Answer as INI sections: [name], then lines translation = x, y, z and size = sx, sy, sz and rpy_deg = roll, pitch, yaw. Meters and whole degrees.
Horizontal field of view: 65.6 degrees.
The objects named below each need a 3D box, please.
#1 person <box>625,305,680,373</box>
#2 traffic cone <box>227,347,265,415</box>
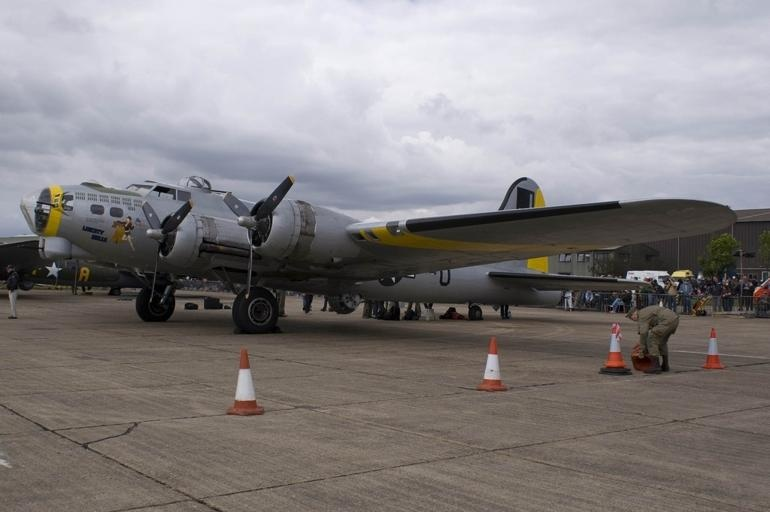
[person]
translation = 5.196, 1.615, 11.551
size = 0.660, 1.256, 0.401
rpy_deg = 2, -3, 19
[traffic cone]
translation = -1.867, 1.689, 8.225
size = 0.460, 0.841, 0.817
rpy_deg = 4, -3, -10
